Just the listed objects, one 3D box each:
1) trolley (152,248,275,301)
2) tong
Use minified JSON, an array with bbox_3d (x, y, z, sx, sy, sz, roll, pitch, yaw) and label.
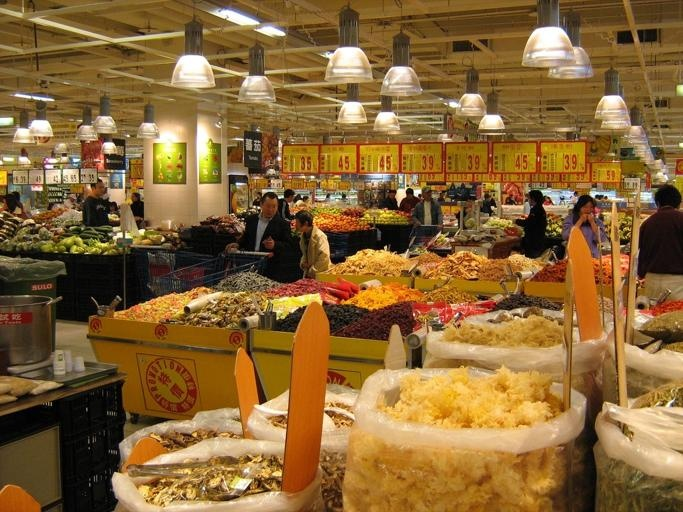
[{"bbox_3d":[-1.541,0.198,6.599,1.399,0.499,0.687,0,5,14],"label":"trolley"},{"bbox_3d":[-0.413,0.619,1.557,0.347,0.056,0.205,11,9,-24],"label":"tong"}]
